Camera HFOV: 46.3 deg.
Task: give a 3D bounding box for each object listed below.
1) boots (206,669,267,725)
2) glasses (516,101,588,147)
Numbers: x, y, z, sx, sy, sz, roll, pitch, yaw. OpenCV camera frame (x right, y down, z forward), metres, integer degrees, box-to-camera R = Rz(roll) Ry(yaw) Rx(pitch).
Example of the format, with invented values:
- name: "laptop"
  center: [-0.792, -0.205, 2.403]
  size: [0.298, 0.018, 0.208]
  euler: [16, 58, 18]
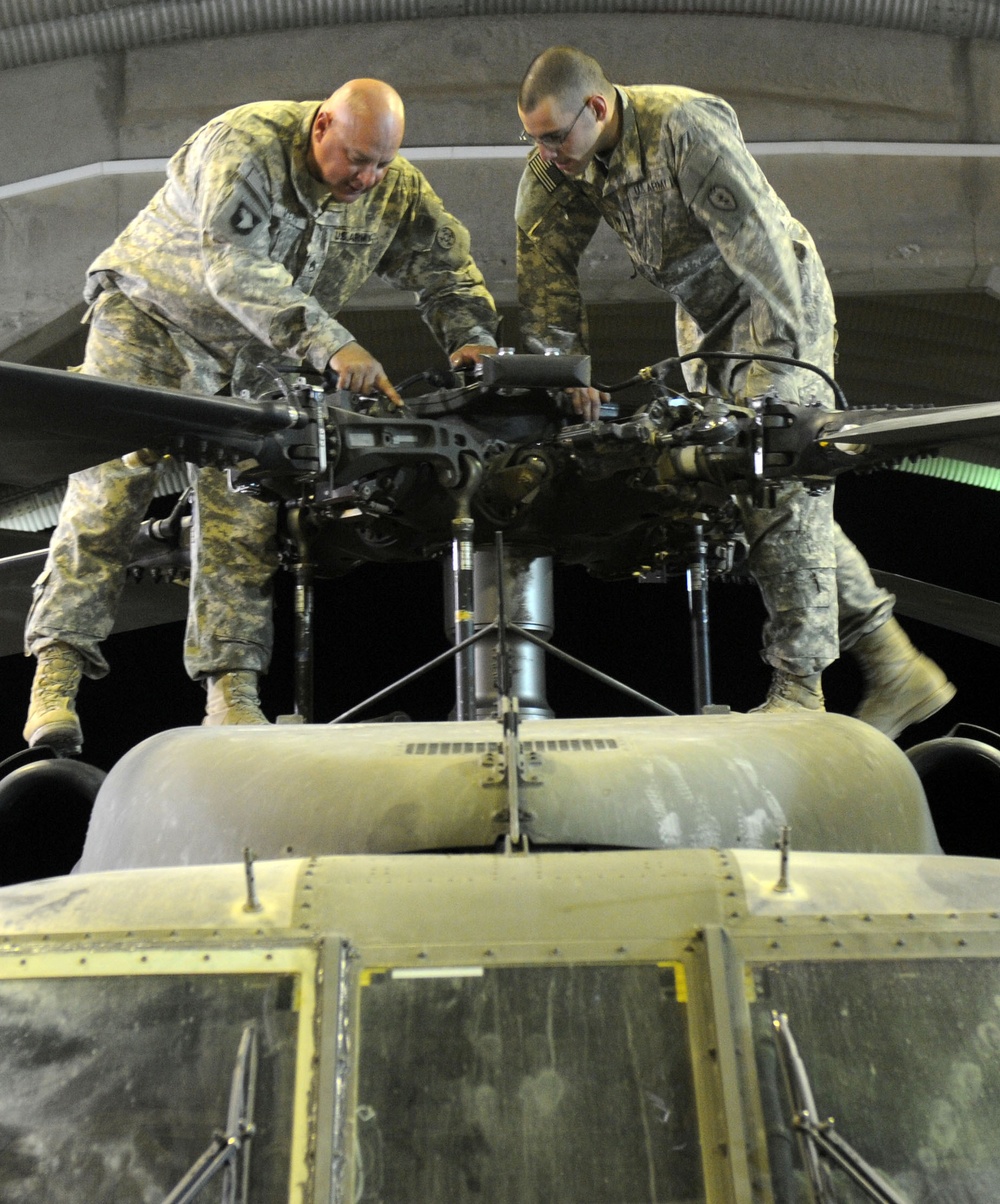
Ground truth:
- name: "boots"
  center: [-0.902, 0.347, 3.960]
  size: [0.272, 0.204, 0.226]
  euler: [1, -16, -9]
- name: "glasses"
  center: [0.205, -1.871, 4.569]
  size: [0.178, 0.088, 0.215]
  euler: [2, 33, 38]
